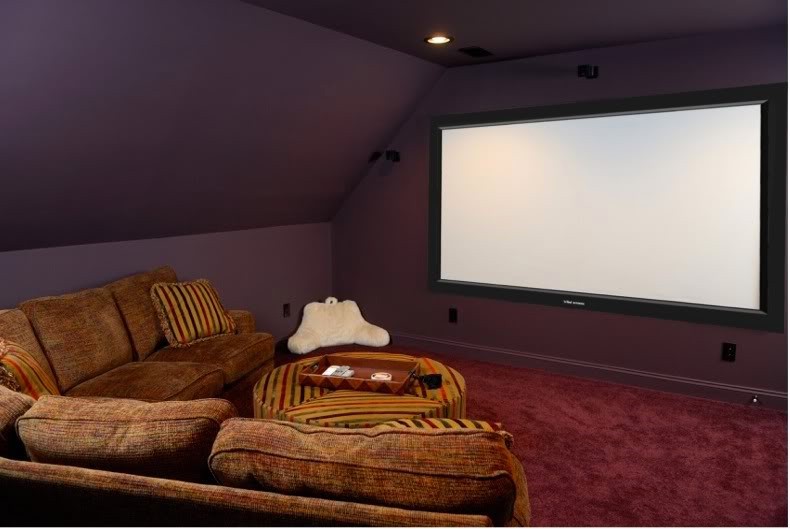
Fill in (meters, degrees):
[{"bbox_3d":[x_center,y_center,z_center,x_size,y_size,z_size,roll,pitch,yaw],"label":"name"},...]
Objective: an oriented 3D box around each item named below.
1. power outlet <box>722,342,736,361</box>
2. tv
[{"bbox_3d":[2.581,0.687,3.959,0.121,0.130,0.032,0,1,31],"label":"power outlet"},{"bbox_3d":[1.837,-0.495,4.237,2.278,1.338,0.102,2,6,30],"label":"tv"}]
